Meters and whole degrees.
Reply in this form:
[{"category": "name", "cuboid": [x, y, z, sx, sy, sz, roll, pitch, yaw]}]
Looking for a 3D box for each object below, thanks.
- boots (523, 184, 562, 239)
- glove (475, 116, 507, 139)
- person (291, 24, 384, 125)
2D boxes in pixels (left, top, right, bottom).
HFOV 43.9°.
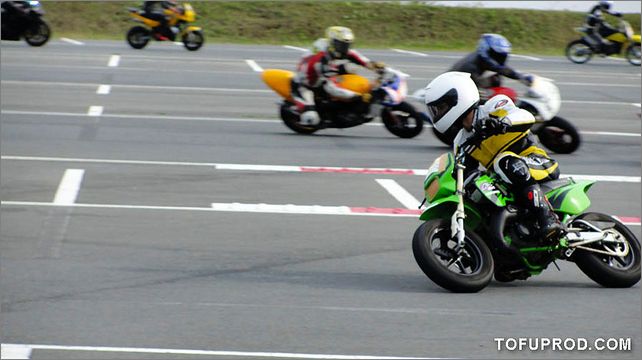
[{"category": "boots", "cuboid": [3.530, 0.513, 13.150, 0.390, 0.793, 0.695, -10, 33, -35]}, {"category": "glove", "cuboid": [2.670, -0.869, 13.058, 0.476, 0.159, 0.336, -13, 2, -33]}, {"category": "person", "cuboid": [0.155, -2.579, 19.788, 1.409, 2.443, 1.005, -11, 36, -35]}]
